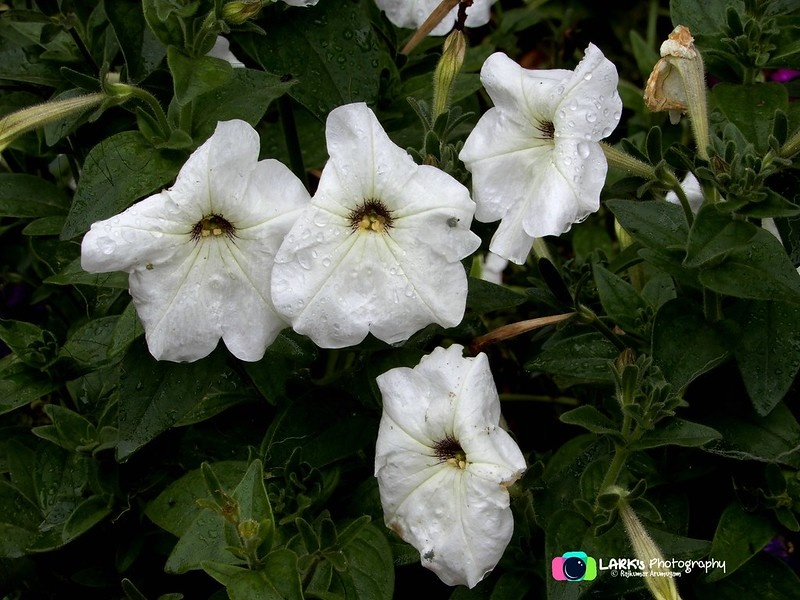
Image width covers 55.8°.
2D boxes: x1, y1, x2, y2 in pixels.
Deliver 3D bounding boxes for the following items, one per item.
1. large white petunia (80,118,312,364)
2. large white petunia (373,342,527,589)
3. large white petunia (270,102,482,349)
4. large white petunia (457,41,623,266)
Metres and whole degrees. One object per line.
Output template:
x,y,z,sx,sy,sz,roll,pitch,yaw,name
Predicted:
-0.352,-0.105,1.519,0.156,0.539,0.524,22,102,25,large white petunia
0.086,0.322,1.522,0.318,0.090,0.465,-8,83,29,large white petunia
-0.021,-0.138,1.500,0.451,0.504,0.143,27,57,8,large white petunia
0.328,-0.265,1.586,0.358,0.125,0.414,33,103,34,large white petunia
